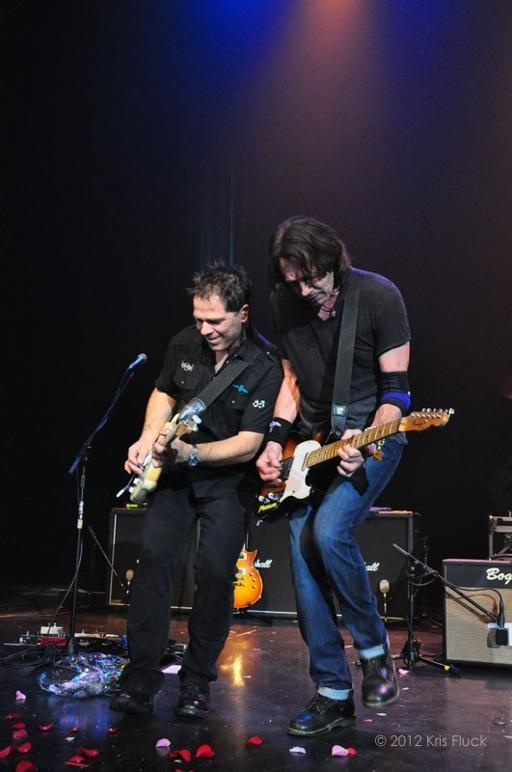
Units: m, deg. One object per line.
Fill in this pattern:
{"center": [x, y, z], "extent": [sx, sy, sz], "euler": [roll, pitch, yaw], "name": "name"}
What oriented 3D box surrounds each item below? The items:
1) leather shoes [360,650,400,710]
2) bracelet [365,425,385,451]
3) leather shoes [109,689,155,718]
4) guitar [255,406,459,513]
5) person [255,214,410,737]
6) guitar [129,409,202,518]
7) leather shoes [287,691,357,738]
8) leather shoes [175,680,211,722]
{"center": [0.383, 0.937, 2.122], "extent": [0.110, 0.186, 0.145], "euler": [1, -4, 8], "name": "leather shoes"}
{"center": [0.363, 0.162, 2.067], "extent": [0.044, 0.082, 0.013], "euler": [-24, -51, 40], "name": "bracelet"}
{"center": [-0.438, 1.104, 2.365], "extent": [0.141, 0.102, 0.107], "euler": [1, -4, -2], "name": "leather shoes"}
{"center": [0.283, 0.225, 2.265], "extent": [0.160, 0.358, 0.963], "euler": [29, -31, -18], "name": "guitar"}
{"center": [0.259, 0.267, 2.346], "extent": [0.689, 1.761, 0.522], "euler": [-1, -4, 34], "name": "person"}
{"center": [-0.340, 0.299, 2.605], "extent": [0.106, 0.253, 0.616], "euler": [33, -36, -15], "name": "guitar"}
{"center": [0.212, 1.079, 2.238], "extent": [0.277, 0.125, 0.091], "euler": [14, -20, -42], "name": "leather shoes"}
{"center": [-0.225, 1.100, 2.386], "extent": [0.112, 0.108, 0.140], "euler": [1, -4, -6], "name": "leather shoes"}
